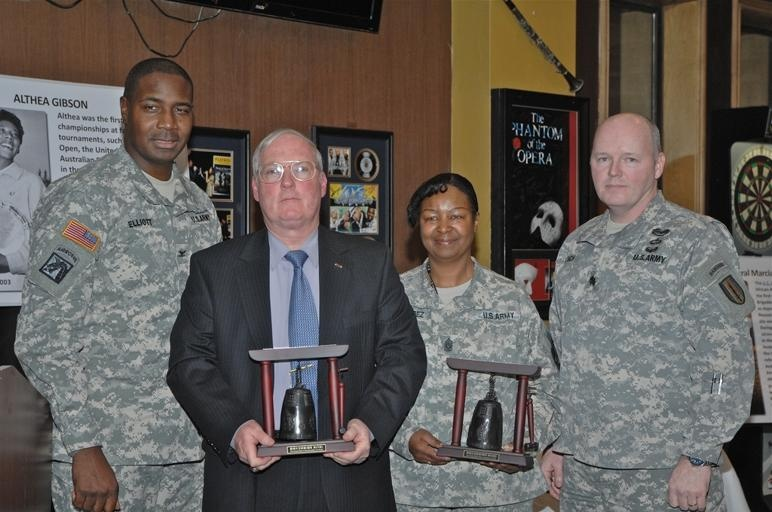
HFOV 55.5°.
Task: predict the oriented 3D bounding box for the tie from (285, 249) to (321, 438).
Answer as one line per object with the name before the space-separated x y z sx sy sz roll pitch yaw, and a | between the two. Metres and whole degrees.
tie | -0.344 0.314 2.938 0.150 0.670 0.278 -1 3 -5

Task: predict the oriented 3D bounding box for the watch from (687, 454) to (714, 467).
watch | 1.362 0.871 3.155 0.066 0.023 0.054 6 -4 -8
